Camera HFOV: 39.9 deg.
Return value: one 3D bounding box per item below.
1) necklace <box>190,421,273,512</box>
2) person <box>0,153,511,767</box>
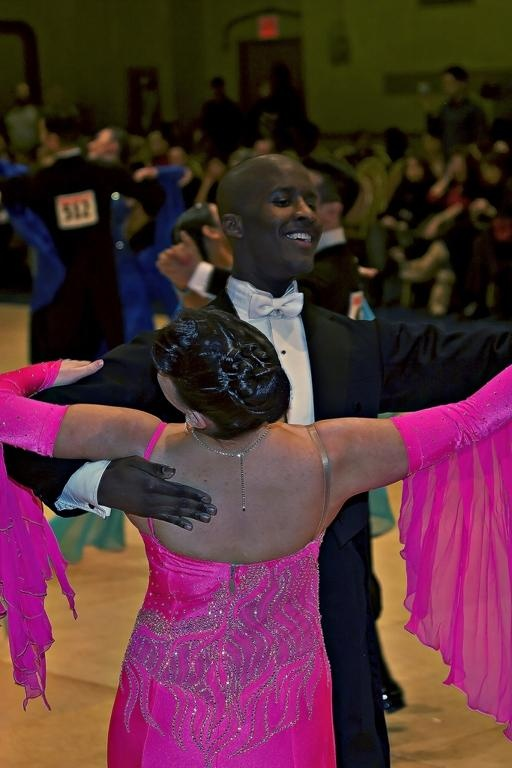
[{"bbox_3d":[-0.034,0.108,0.939,0.086,0.115,0.007,-9,-6,10],"label":"necklace"},{"bbox_3d":[0.006,0.171,1.426,0.624,1.333,0.918,7,10,44],"label":"person"}]
